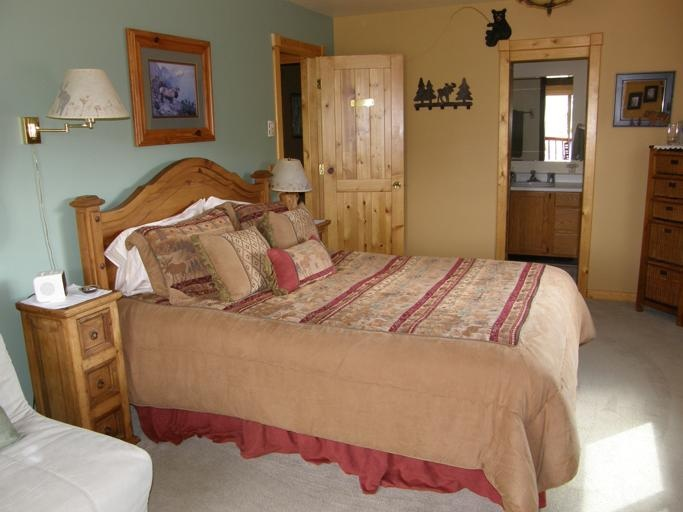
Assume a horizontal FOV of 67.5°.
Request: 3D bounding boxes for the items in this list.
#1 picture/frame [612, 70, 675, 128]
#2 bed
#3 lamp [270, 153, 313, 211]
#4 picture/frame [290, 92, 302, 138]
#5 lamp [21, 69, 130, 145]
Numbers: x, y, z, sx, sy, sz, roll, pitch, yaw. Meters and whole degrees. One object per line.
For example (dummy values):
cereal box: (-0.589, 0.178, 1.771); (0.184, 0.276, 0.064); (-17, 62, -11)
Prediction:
picture/frame: (3.152, -1.642, 5.269); (0.628, 0.663, 0.026); (5, 12, 20)
bed: (-0.014, 0.252, 3.152); (2.493, 1.301, 1.957); (5, 20, 18)
lamp: (-0.453, -0.650, 4.907); (0.346, 0.539, 0.358); (-6, 19, 8)
picture/frame: (-0.637, -2.008, 7.413); (0.023, 0.739, 0.368); (-13, 21, -33)
lamp: (-1.581, -0.869, 3.145); (0.599, 0.392, 0.414); (1, 7, 21)
